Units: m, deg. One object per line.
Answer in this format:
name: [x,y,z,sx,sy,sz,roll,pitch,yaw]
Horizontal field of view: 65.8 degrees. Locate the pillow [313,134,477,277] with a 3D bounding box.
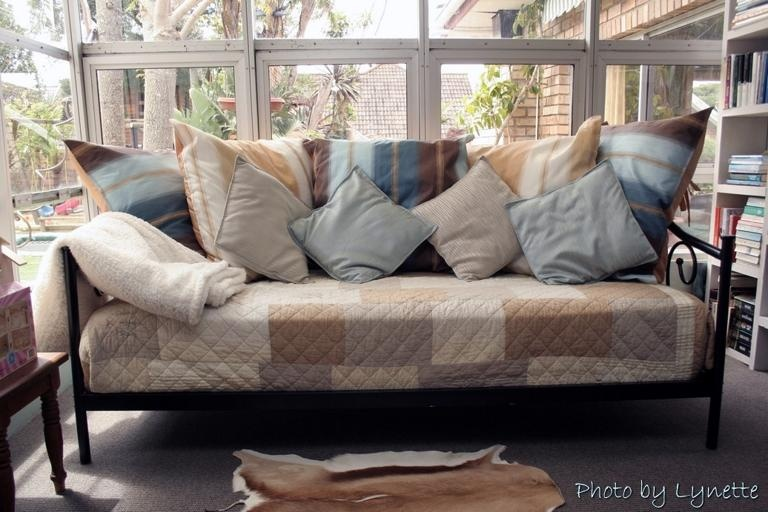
pillow: [0.055,-0.243,3.205,0.766,0.585,0.258,-1,7,-1]

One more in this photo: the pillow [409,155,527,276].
pillow: [0.441,-0.203,3.176,0.543,0.523,0.163,-33,-4,-13]
